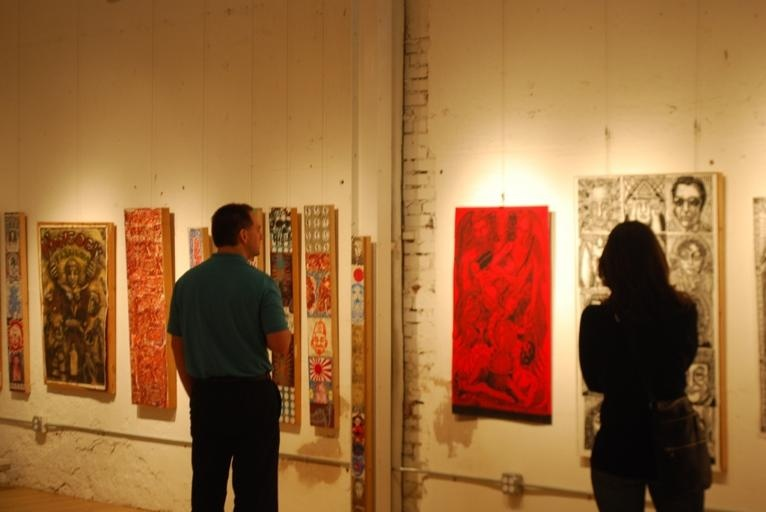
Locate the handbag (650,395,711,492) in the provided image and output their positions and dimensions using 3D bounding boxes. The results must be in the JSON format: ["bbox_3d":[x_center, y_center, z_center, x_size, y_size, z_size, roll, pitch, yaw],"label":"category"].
[{"bbox_3d":[2.186,1.372,5.521,0.429,0.665,0.102,1,2,-9],"label":"handbag"}]
